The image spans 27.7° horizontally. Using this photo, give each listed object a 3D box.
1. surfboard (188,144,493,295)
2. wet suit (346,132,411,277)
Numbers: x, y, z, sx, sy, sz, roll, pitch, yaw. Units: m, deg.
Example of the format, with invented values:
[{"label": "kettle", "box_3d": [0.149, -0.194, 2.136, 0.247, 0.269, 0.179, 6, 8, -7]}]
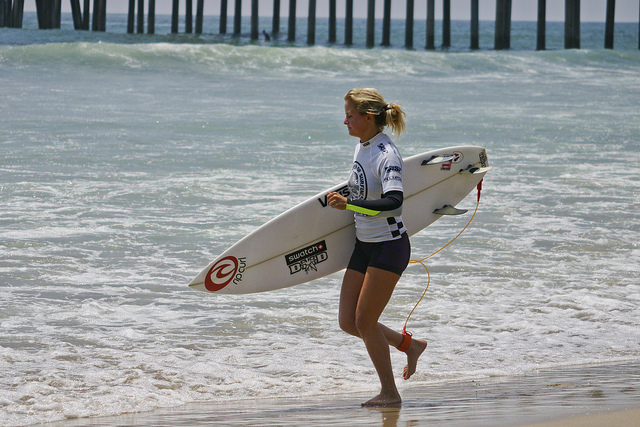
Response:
[{"label": "surfboard", "box_3d": [0.457, 0.251, 25.599, 6.596, 1.431, 1.070, -22, 4, -5]}, {"label": "wet suit", "box_3d": [1.060, -0.173, 23.622, 1.176, 2.586, 0.497, 2, 7, 3]}]
